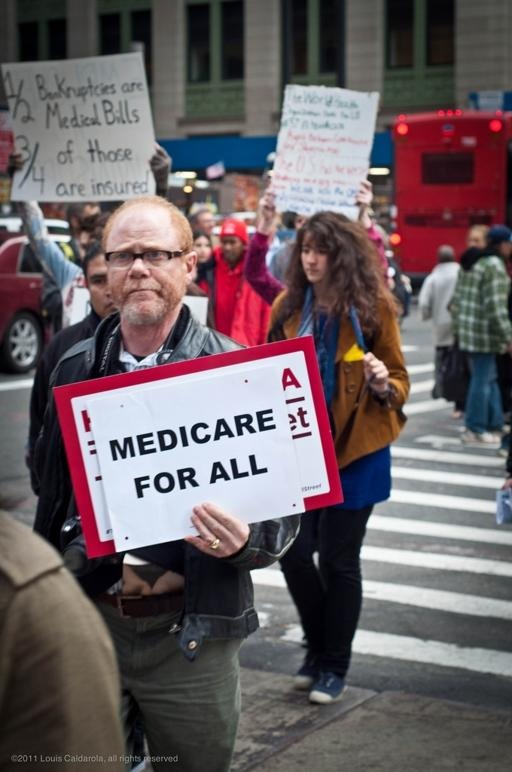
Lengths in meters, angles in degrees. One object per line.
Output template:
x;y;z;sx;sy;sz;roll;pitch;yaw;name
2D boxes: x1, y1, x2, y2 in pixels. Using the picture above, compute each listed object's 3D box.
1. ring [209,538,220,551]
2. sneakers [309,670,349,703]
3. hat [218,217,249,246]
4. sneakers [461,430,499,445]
-0.089;0.344;2.006;0.020;0.024;0.014;-4;1;-17;ring
0.314;1.293;4.002;0.103;0.120;0.223;2;6;28;sneakers
-0.194;-1.352;8.104;0.201;0.214;0.274;2;-24;1;hat
2.374;0.545;9.894;0.406;0.175;0.151;0;3;12;sneakers
